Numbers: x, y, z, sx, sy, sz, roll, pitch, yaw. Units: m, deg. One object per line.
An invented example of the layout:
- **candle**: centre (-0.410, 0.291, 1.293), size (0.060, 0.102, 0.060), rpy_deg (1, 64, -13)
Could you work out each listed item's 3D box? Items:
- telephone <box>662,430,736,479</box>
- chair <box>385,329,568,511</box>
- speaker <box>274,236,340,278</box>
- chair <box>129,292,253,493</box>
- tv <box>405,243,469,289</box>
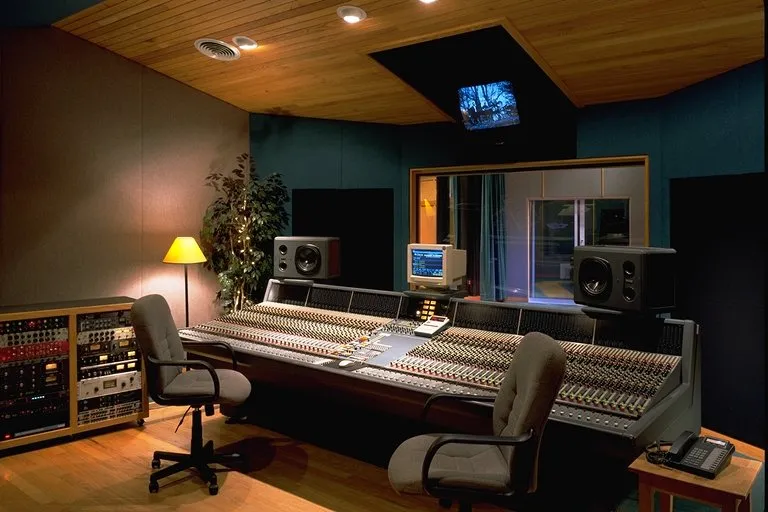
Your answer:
- **telephone**: centre (2.015, 1.242, 3.257), size (0.370, 0.117, 0.289), rpy_deg (-12, 8, -41)
- **chair**: centre (0.633, 1.089, 3.725), size (1.331, 1.424, 1.035), rpy_deg (1, -6, 0)
- **speaker**: centre (-0.782, 0.023, 5.376), size (0.782, 0.407, 0.786), rpy_deg (-3, 2, -39)
- **chair**: centre (-1.572, 1.087, 4.298), size (0.976, 1.413, 0.918), rpy_deg (2, -2, -4)
- **tv**: centre (0.480, 0.112, 4.635), size (0.432, 0.415, 0.455), rpy_deg (3, 5, 31)
